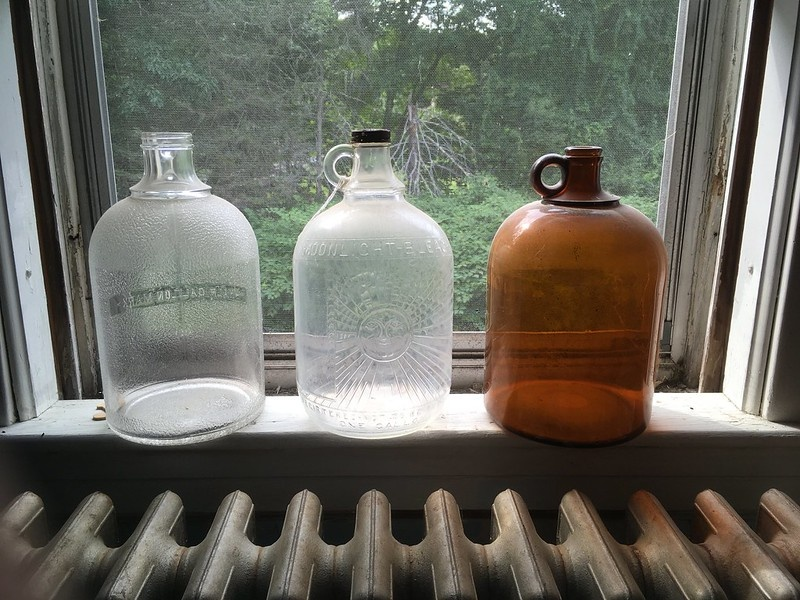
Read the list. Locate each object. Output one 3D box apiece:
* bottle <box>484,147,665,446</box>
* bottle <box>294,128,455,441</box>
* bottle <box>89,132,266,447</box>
[{"bbox_3d":[0.268,-0.003,1.126,0.257,0.445,0.123,4,19,16],"label":"bottle"},{"bbox_3d":[-0.043,-0.007,1.155,0.250,0.459,0.132,-1,18,2],"label":"bottle"},{"bbox_3d":[-0.346,-0.016,1.143,0.252,0.469,0.134,-5,18,-11],"label":"bottle"}]
